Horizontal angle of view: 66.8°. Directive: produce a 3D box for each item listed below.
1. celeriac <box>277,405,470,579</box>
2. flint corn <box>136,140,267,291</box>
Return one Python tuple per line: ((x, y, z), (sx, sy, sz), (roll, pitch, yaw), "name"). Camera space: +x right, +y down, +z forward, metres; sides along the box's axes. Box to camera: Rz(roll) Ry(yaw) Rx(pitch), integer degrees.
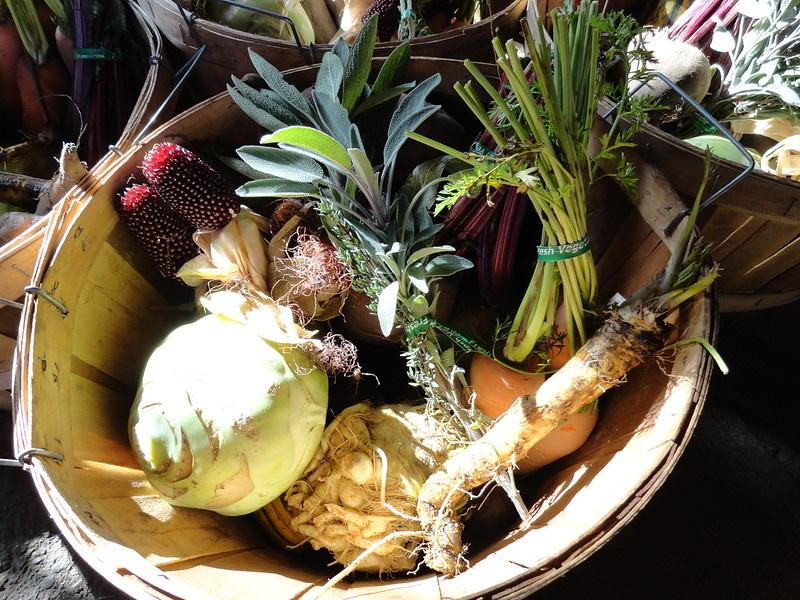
((-0.058, 0.377, 1.161), (0.265, 0.198, 0.383), (12, 31, 22), "celeriac")
((-0.366, -0.174, 1.110), (0.177, 0.165, 0.173), (-10, 37, -19), "flint corn")
